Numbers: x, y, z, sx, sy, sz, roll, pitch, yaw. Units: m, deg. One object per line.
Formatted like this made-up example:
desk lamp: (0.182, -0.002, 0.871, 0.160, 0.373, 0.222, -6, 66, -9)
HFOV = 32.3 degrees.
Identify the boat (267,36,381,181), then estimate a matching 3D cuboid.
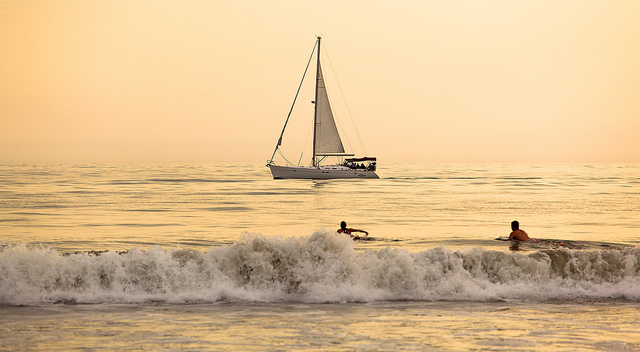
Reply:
boat: (0.481, -8.743, 142.724, 17.147, 17.595, 4.605, 1, 8, 22)

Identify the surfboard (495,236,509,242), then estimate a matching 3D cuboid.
surfboard: (13.342, 4.536, 81.230, 0.667, 0.214, 0.461, 1, 2, -17)
